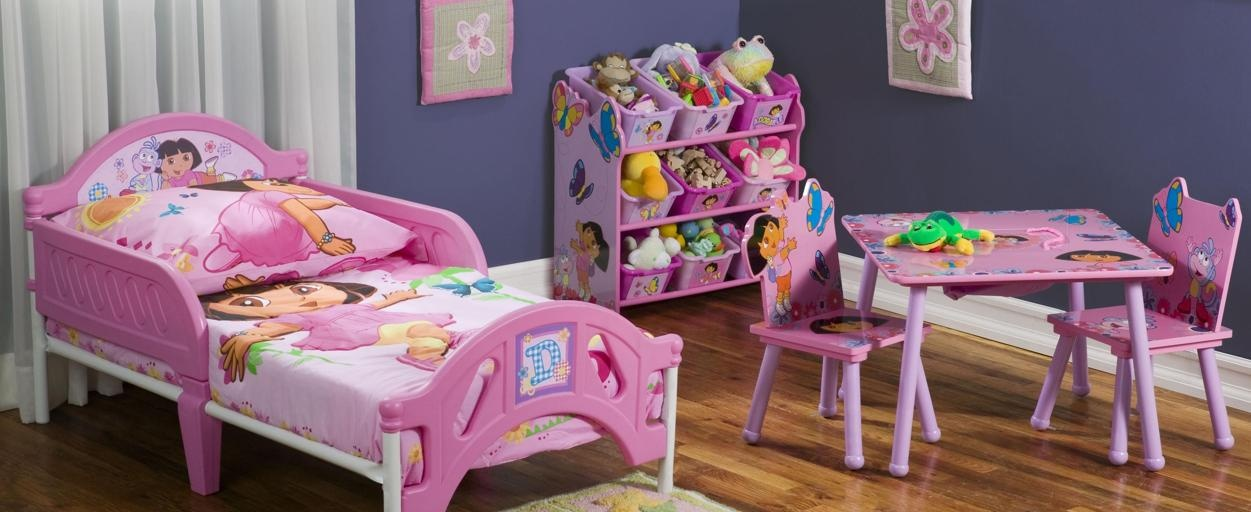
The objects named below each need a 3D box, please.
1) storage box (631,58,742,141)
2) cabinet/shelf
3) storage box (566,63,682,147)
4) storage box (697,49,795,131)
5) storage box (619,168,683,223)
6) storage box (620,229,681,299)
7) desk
[{"bbox_3d":[0.440,-1.289,6.909,0.625,0.253,0.836,-21,39,-37],"label":"storage box"},{"bbox_3d":[0.484,-0.629,7.420,2.335,1.669,1.125,-16,25,-41],"label":"cabinet/shelf"},{"bbox_3d":[-0.057,-1.211,6.794,0.616,0.307,0.874,-15,29,-35],"label":"storage box"},{"bbox_3d":[0.953,-1.384,7.232,0.578,0.259,0.813,-14,29,-34],"label":"storage box"},{"bbox_3d":[0.162,-0.489,6.833,0.574,0.221,0.422,-12,23,-32],"label":"storage box"},{"bbox_3d":[0.144,0.050,6.979,0.625,0.499,0.609,0,23,-16],"label":"storage box"},{"bbox_3d":[2.484,0.518,6.193,2.481,1.280,1.950,-3,15,-9],"label":"desk"}]
